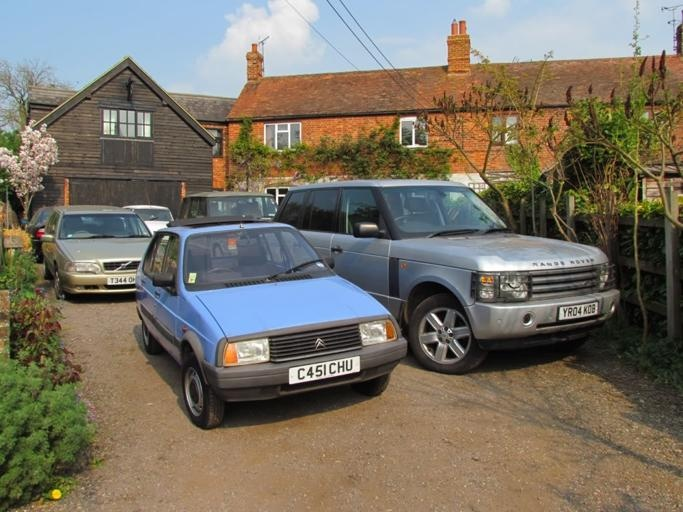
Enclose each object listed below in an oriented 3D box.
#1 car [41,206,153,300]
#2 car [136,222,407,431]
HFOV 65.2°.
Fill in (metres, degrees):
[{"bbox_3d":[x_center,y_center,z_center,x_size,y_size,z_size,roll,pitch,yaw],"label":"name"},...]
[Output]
[{"bbox_3d":[-5.159,-0.124,11.114,1.730,1.176,3.182,-1,4,-29],"label":"car"},{"bbox_3d":[-0.876,0.580,5.785,1.902,1.778,2.751,-9,14,-35],"label":"car"}]
